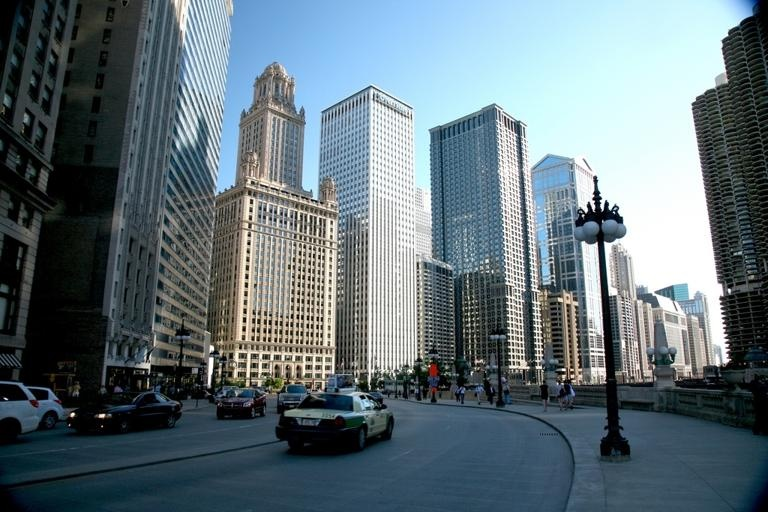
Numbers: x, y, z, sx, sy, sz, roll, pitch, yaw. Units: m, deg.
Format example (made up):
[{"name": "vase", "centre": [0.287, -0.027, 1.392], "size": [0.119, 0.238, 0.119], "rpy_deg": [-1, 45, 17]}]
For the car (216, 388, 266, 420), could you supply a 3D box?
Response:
[{"name": "car", "centre": [-9.965, 10.351, 41.063], "size": [2.897, 2.151, 4.389], "rpy_deg": [-2, -17, 0]}]

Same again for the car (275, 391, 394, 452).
[{"name": "car", "centre": [-1.944, 7.510, 26.532], "size": [2.307, 2.583, 4.937], "rpy_deg": [-16, -22, 39]}]

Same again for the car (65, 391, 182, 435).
[{"name": "car", "centre": [-13.969, 8.465, 31.832], "size": [1.845, 2.259, 5.147], "rpy_deg": [-12, -20, 30]}]
